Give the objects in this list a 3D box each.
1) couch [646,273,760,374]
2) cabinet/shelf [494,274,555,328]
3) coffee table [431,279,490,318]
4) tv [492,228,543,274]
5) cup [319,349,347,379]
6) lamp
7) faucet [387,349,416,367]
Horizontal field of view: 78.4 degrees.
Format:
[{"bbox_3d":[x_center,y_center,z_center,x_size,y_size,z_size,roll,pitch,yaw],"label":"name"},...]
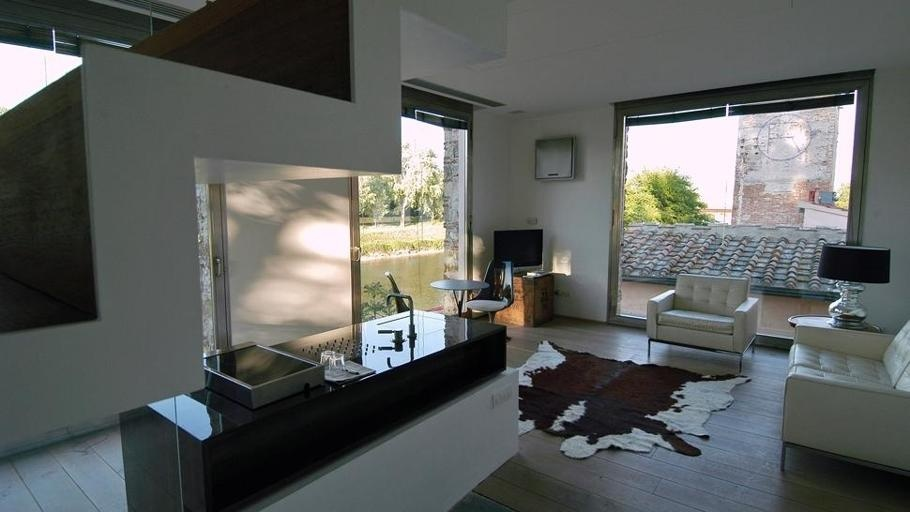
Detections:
[{"bbox_3d":[3.063,0.727,6.890,1.144,0.823,0.825,5,15,34],"label":"couch"},{"bbox_3d":[0.971,0.643,8.607,1.005,0.693,0.780,2,7,25],"label":"cabinet/shelf"},{"bbox_3d":[-0.030,0.538,6.702,0.436,0.412,0.431,-9,-20,6],"label":"coffee table"},{"bbox_3d":[0.993,-0.045,8.487,0.229,0.671,1.019,-1,0,-42],"label":"tv"},{"bbox_3d":[-0.766,0.671,3.460,0.161,0.153,0.146,1,1,-23],"label":"cup"},{"bbox_3d":[4.249,0.335,6.045,0.609,0.881,0.488,1,8,13],"label":"lamp"},{"bbox_3d":[-0.370,0.675,3.656,0.242,0.065,0.147,-5,8,-40],"label":"faucet"}]
